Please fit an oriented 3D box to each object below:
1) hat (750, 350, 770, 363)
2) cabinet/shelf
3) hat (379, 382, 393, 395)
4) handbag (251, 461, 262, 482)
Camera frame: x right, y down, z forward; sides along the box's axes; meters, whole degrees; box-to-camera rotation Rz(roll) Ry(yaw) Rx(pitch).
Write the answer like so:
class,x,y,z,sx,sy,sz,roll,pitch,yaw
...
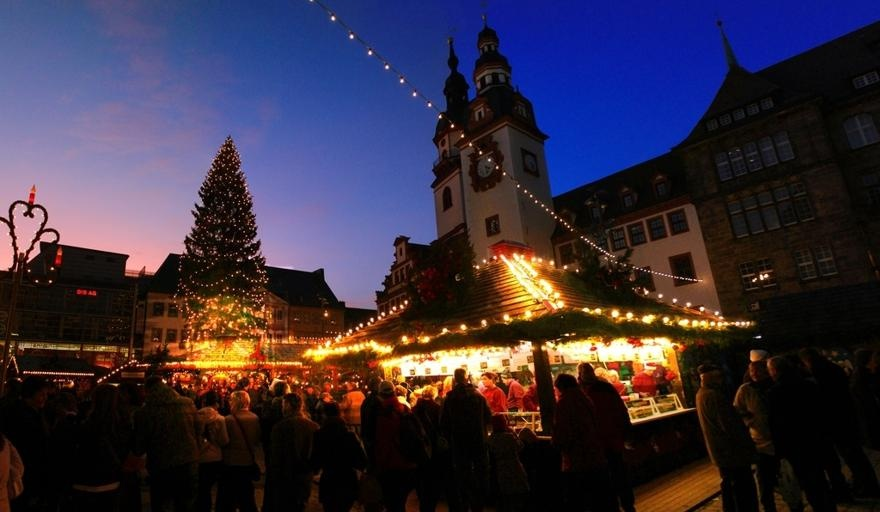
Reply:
class,x,y,z,sx,sy,sz,roll,pitch,yaw
hat,9.003,2.817,16.060,0.394,0.339,1.063,-11,-16,25
cabinet/shelf,6.868,6.229,18.952,3.607,1.676,1.783,-3,-10,-32
hat,-1.422,3.515,15.100,0.410,0.347,0.269,-7,-16,12
handbag,-4.938,5.827,15.300,0.170,0.504,0.924,0,-15,-14
